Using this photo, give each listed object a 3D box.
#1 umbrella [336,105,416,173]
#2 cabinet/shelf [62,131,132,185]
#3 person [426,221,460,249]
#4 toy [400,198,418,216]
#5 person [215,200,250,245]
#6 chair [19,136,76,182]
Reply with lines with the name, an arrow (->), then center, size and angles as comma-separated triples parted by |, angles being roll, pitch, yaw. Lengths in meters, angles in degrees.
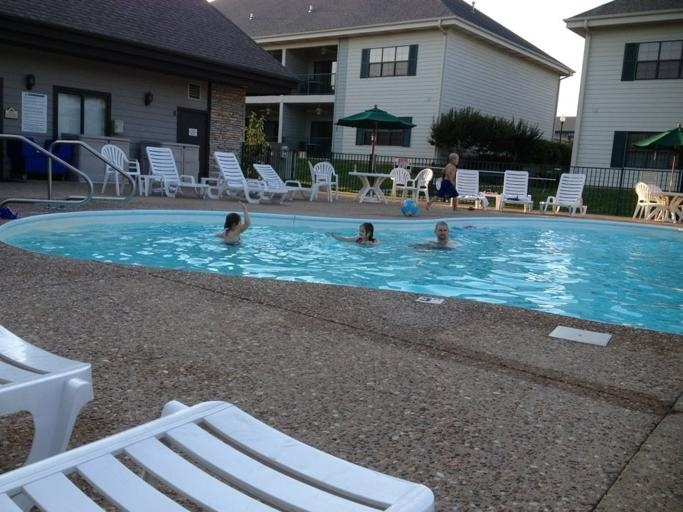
umbrella -> 1.106, -4.036, 17.094 | 2.764, 2.039, 2.257 | 4, 9, 11
cabinet/shelf -> -7.680, -2.986, 14.931 | 1.188, 1.380, 1.744 | 2, 13, -2
person -> 1.929, -0.387, 8.935 | 0.502, 0.449, 0.817 | 7, 13, 12
toy -> 1.725, -1.194, 11.855 | 0.500, 0.441, 0.422 | 0, 33, 16
person -> -1.813, -0.556, 8.155 | 0.492, 0.681, 0.729 | 1, 13, -15
chair -> -8.807, -2.858, 13.978 | 0.947, 1.162, 1.537 | 12, 13, 18
